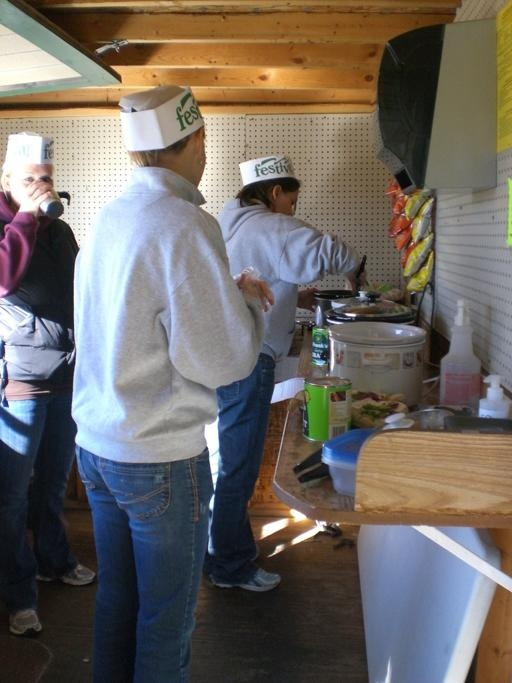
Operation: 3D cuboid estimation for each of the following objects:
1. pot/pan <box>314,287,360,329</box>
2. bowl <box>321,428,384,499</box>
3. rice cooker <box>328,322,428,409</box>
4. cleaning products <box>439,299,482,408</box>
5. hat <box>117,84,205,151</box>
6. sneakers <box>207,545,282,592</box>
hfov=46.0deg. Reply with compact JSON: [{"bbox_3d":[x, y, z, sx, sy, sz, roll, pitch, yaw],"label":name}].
[{"bbox_3d":[0.346,-0.184,2.826,0.236,0.213,0.252,3,10,2],"label":"pot/pan"},{"bbox_3d":[0.159,0.212,1.088,0.144,0.120,0.128,3,14,2],"label":"bowl"},{"bbox_3d":[0.348,0.058,1.770,0.276,0.194,0.281,4,16,16],"label":"rice cooker"},{"bbox_3d":[0.529,0.041,1.531,0.115,0.278,0.110,-7,8,-23],"label":"cleaning products"},{"bbox_3d":[-0.242,-0.533,1.506,0.156,0.112,0.220,-8,30,23],"label":"hat"},{"bbox_3d":[-0.059,0.967,2.560,0.359,0.153,0.120,-1,7,4],"label":"sneakers"}]
